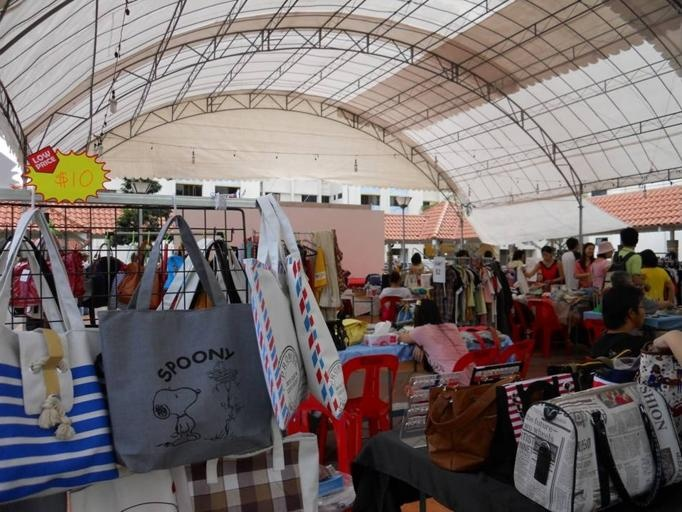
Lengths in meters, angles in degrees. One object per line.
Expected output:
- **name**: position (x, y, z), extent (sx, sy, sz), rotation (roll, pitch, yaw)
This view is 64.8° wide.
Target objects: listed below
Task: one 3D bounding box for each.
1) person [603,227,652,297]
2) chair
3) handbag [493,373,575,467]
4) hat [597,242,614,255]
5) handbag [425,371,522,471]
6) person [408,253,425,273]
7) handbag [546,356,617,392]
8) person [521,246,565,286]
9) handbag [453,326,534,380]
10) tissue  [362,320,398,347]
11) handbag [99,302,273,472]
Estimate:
- **person**: position (3.170, 0.306, 6.110), extent (0.438, 1.205, 0.372), rotation (7, 11, 37)
- **chair**: position (0.091, 1.110, 3.864), extent (0.491, 0.769, 0.518), rotation (6, -8, -17)
- **handbag**: position (0.674, 0.598, 1.909), extent (0.352, 0.285, 0.123), rotation (0, 0, -36)
- **hat**: position (3.989, -0.097, 8.124), extent (0.234, 0.120, 0.213), rotation (-16, 8, -27)
- **handbag**: position (0.461, 0.670, 2.151), extent (0.251, 0.320, 0.353), rotation (9, -2, 24)
- **person**: position (1.322, 0.138, 9.599), extent (0.225, 0.377, 1.162), rotation (-3, -3, 10)
- **handbag**: position (1.096, 0.529, 2.396), extent (0.340, 0.098, 0.074), rotation (-8, -23, 4)
- **person**: position (3.415, 0.177, 9.094), extent (0.524, 0.649, 0.729), rotation (-3, -3, -2)
- **handbag**: position (1.179, 0.790, 4.316), extent (0.655, 0.382, 0.620), rotation (-5, 0, -17)
- **tissue **: position (0.298, 0.671, 4.491), extent (0.274, 0.175, 0.193), rotation (1, -8, -29)
- **handbag**: position (-0.449, 0.367, 1.522), extent (0.503, 0.425, 0.178), rotation (-5, -4, -23)
